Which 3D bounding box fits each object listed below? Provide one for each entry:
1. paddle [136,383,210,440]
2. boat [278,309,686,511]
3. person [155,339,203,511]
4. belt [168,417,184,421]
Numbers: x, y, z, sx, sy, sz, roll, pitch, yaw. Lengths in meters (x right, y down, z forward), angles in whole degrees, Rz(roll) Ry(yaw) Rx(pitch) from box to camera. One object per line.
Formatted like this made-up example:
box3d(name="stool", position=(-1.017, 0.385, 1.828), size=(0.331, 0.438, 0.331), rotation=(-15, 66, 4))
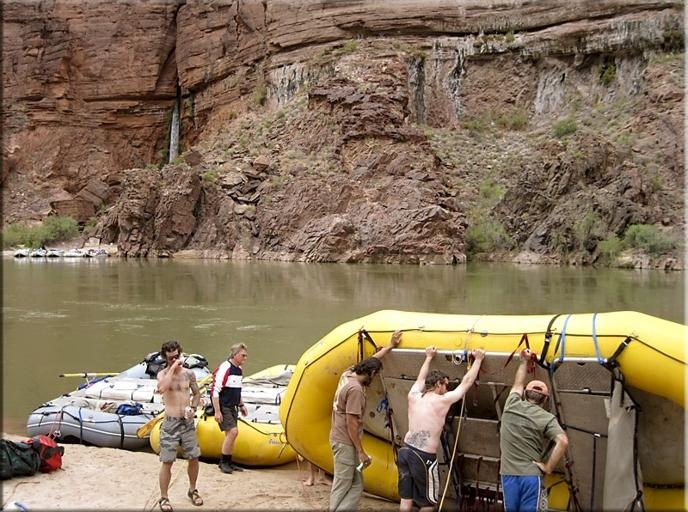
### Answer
box3d(name="paddle", position=(-4.630, 4.297, 23.794), size=(2.574, 0.349, 0.259), rotation=(-42, 1, 23))
box3d(name="boat", position=(4.408, 3.590, 23.573), size=(7.430, 2.785, 5.794), rotation=(2, -3, 9))
box3d(name="person", position=(-4.408, 4.418, 22.936), size=(1.392, 4.232, 1.170), rotation=(-9, 11, -22))
box3d(name="belt", position=(-4.414, 4.275, 22.842), size=(0.384, 0.134, 0.024), rotation=(-6, 10, -3))
